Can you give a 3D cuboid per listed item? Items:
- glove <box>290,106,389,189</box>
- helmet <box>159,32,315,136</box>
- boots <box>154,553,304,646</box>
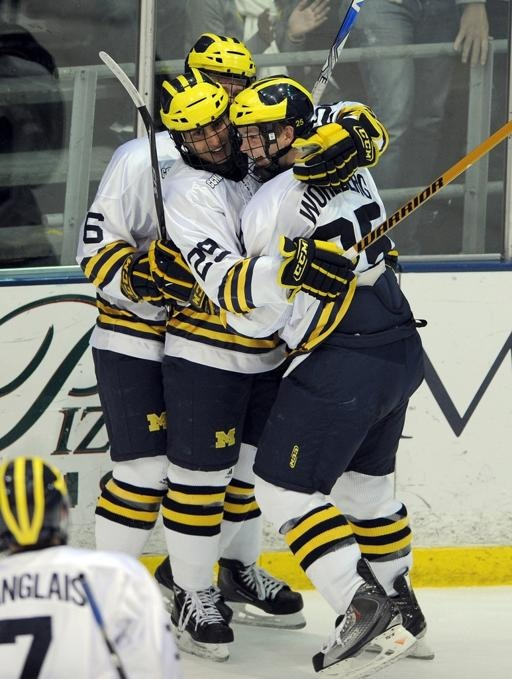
[{"bbox_3d":[0.207,-0.472,2.084,0.263,0.132,0.280,21,39,3],"label":"glove"},{"bbox_3d":[-0.110,-0.820,2.559,0.231,0.193,0.253,-2,-4,-36],"label":"helmet"},{"bbox_3d":[-0.101,0.862,2.692,0.619,0.192,0.169,6,37,14],"label":"boots"}]
